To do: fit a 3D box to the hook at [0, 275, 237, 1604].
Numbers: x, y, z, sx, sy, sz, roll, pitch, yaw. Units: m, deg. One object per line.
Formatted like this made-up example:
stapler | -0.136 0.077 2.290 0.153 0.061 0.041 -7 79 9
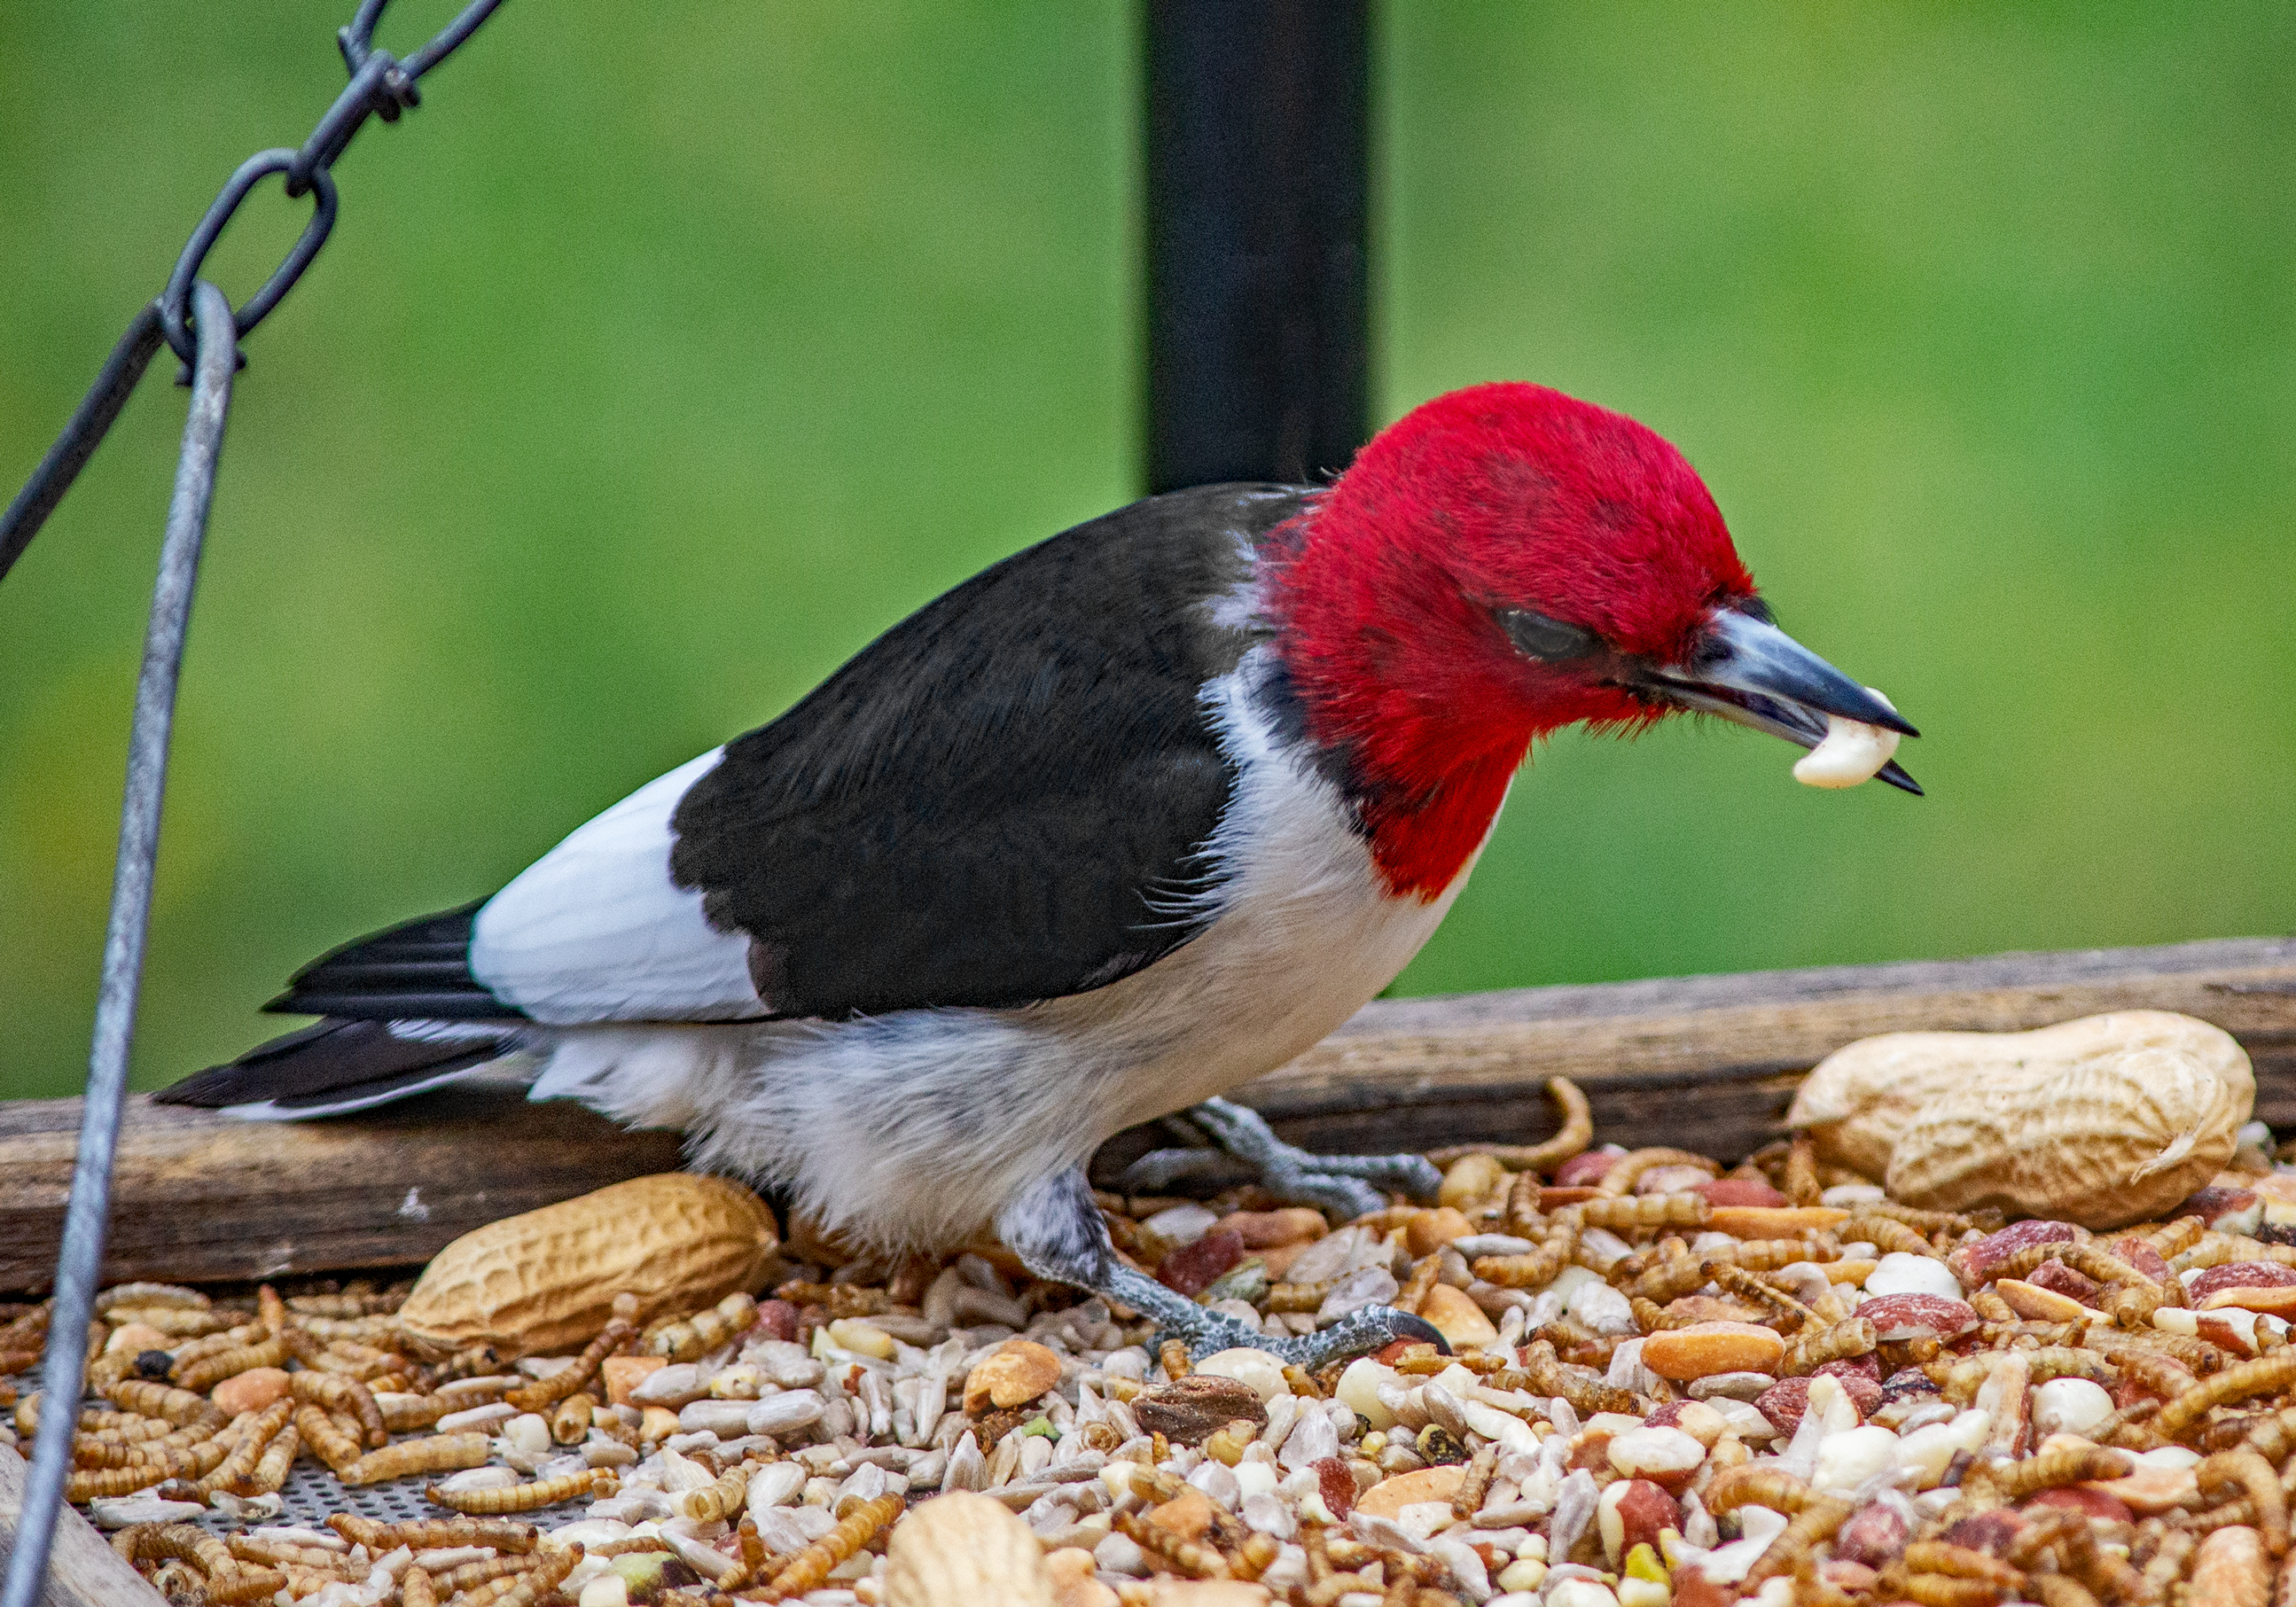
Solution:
hook | -0.784 0.063 2.326 0.141 1.210 0.162 8 -13 -20
